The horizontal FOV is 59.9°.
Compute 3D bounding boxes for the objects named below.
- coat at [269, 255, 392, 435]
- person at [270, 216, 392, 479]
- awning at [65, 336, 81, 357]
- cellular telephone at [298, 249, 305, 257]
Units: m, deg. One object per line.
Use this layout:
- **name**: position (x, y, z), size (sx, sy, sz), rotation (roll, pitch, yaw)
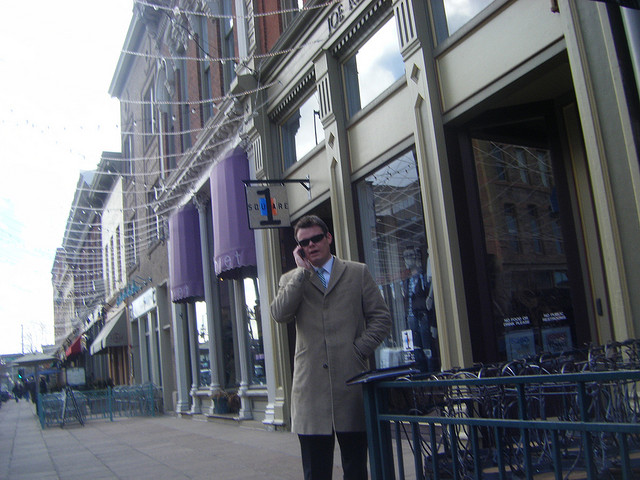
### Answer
- **coat**: position (0.111, 1.042, 4.409), size (0.769, 2.000, 0.631), rotation (-3, -31, 3)
- **person**: position (0.087, 0.829, 4.407), size (0.898, 2.127, 0.503), rotation (-3, -8, -7)
- **awning**: position (-15.368, 6.644, 34.726), size (0.628, 0.793, 2.069), rotation (0, -11, -28)
- **cellular telephone**: position (-0.155, 0.103, 4.553), size (0.052, 0.014, 0.037), rotation (50, -11, 3)
